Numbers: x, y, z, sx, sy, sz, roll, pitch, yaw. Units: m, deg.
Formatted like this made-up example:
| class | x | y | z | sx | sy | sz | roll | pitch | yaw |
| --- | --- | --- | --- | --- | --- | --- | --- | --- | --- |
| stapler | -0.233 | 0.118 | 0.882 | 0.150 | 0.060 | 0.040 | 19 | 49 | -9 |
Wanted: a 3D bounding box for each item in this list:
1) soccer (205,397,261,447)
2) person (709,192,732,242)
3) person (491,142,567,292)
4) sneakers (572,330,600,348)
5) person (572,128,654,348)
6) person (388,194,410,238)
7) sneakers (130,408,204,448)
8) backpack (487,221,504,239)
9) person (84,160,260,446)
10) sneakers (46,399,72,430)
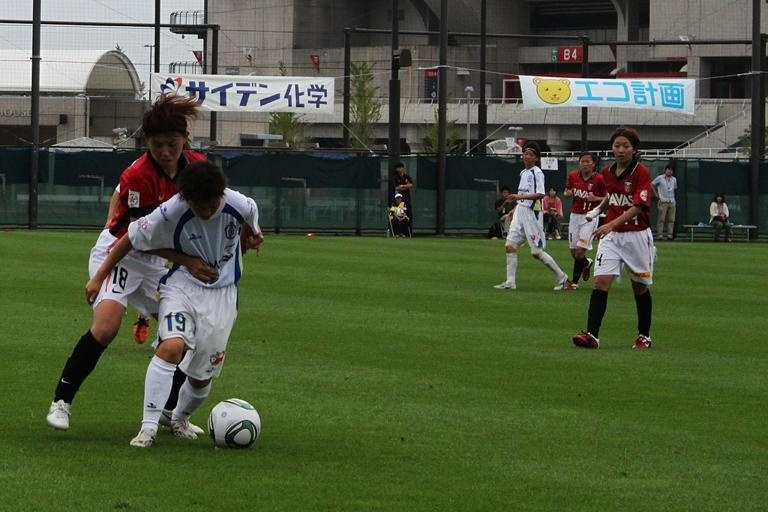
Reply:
| class | x | y | z | sx | sy | sz | roll | pitch | yaw |
| --- | --- | --- | --- | --- | --- | --- | --- | --- | --- |
| soccer | -1.278 | 1.374 | 8.556 | 0.379 | 0.377 | 0.382 | 20 | 4 | -31 |
| person | 9.932 | -1.118 | 30.129 | 0.639 | 1.365 | 1.390 | 3 | 8 | 18 |
| person | 2.504 | -0.654 | 17.241 | 1.163 | 2.377 | 1.409 | 5 | 8 | 33 |
| sneakers | 2.387 | 0.981 | 11.935 | 0.338 | 0.178 | 0.151 | 7 | -4 | -5 |
| person | 2.786 | -0.222 | 12.153 | 0.892 | 2.559 | 1.128 | 3 | 7 | 14 |
| person | 0.445 | -1.162 | 29.486 | 0.600 | 1.266 | 0.687 | 1 | 7 | 1 |
| sneakers | -1.826 | 1.475 | 8.644 | 0.210 | 0.294 | 0.677 | 27 | 7 | 26 |
| backpack | 3.323 | -0.733 | 30.224 | 0.499 | 0.484 | 0.357 | 3 | -1 | -2 |
| person | -1.630 | 0.394 | 8.444 | 1.166 | 2.340 | 0.574 | -1 | 7 | -11 |
| sneakers | -2.708 | 1.312 | 8.509 | 0.126 | 0.128 | 0.322 | 9 | 5 | -25 |
